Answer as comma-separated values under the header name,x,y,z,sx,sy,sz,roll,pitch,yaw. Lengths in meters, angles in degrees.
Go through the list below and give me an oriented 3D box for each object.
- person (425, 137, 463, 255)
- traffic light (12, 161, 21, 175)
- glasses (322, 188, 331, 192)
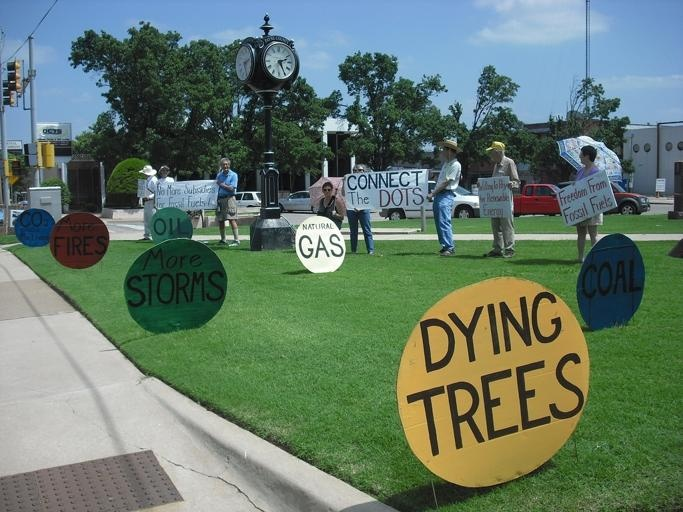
name,x,y,z,sx,sy,sz,roll,pitch,yaw
person,1.797,-1.017,12.685,0.519,2.005,1.171,-1,5,8
traffic light,-10.719,-2.873,23.744,0.276,0.482,0.527,-4,5,-27
glasses,-0.271,-1.158,12.838,0.144,0.057,0.166,-1,5,7
